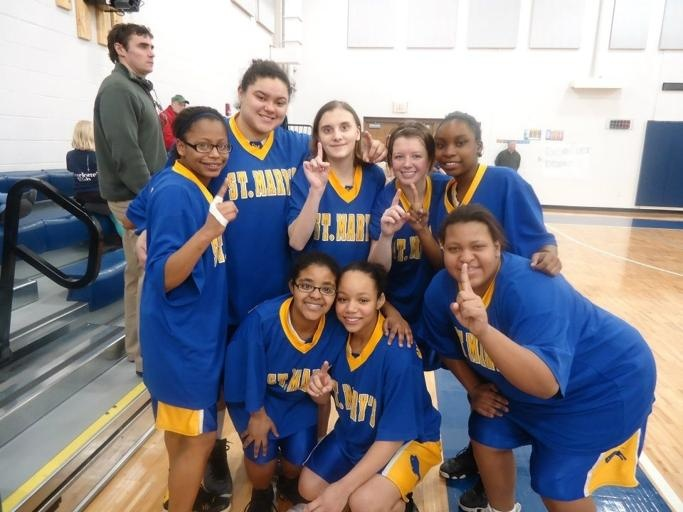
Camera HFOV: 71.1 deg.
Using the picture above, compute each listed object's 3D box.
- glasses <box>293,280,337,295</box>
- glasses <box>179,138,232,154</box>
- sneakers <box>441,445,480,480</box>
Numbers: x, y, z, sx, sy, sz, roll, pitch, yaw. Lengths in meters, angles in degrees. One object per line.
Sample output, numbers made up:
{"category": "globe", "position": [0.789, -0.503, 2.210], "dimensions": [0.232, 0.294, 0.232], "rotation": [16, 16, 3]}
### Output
{"category": "glasses", "position": [-0.128, 0.155, 2.278], "dimensions": [0.197, 0.066, 0.048], "rotation": [3, 19, 2]}
{"category": "glasses", "position": [-0.618, -0.495, 2.170], "dimensions": [0.209, 0.056, 0.068], "rotation": [-5, 21, -17]}
{"category": "sneakers", "position": [0.666, 1.184, 2.755], "dimensions": [0.275, 0.192, 0.107], "rotation": [1, -1, -5]}
